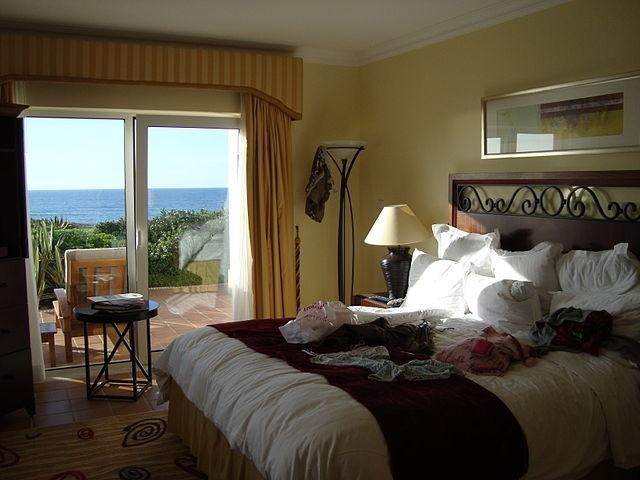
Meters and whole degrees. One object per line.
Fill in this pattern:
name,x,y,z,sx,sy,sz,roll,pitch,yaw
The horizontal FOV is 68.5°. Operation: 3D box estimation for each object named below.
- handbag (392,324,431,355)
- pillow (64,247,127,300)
handbag,0.638,0.654,3.128,0.177,0.070,0.181,-2,7,-21
pillow,-2.262,0.310,4.849,0.430,0.630,0.508,-2,7,-32
